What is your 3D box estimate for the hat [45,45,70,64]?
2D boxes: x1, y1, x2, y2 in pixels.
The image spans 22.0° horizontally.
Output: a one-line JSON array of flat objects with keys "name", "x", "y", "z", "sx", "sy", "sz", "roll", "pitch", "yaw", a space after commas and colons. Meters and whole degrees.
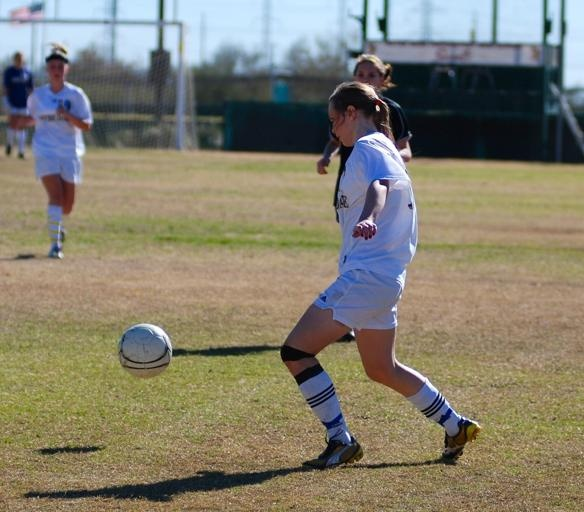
[{"name": "hat", "x": -1.897, "y": -1.659, "z": 12.287, "sx": 0.193, "sy": 0.149, "sz": 0.247, "roll": 1, "pitch": 5, "yaw": -18}]

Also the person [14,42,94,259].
[{"name": "person", "x": -1.903, "y": -0.849, "z": 12.320, "sx": 0.537, "sy": 1.764, "sz": 0.523, "roll": 1, "pitch": 5, "yaw": -8}]

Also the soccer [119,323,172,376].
[{"name": "soccer", "x": -0.990, "y": 0.634, "z": 10.173, "sx": 0.346, "sy": 0.332, "sz": 0.347, "roll": 1, "pitch": 2, "yaw": -1}]

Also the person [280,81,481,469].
[{"name": "person", "x": 0.530, "y": 0.132, "z": 9.526, "sx": 0.990, "sy": 2.460, "sz": 0.761, "roll": -3, "pitch": 7, "yaw": -44}]
